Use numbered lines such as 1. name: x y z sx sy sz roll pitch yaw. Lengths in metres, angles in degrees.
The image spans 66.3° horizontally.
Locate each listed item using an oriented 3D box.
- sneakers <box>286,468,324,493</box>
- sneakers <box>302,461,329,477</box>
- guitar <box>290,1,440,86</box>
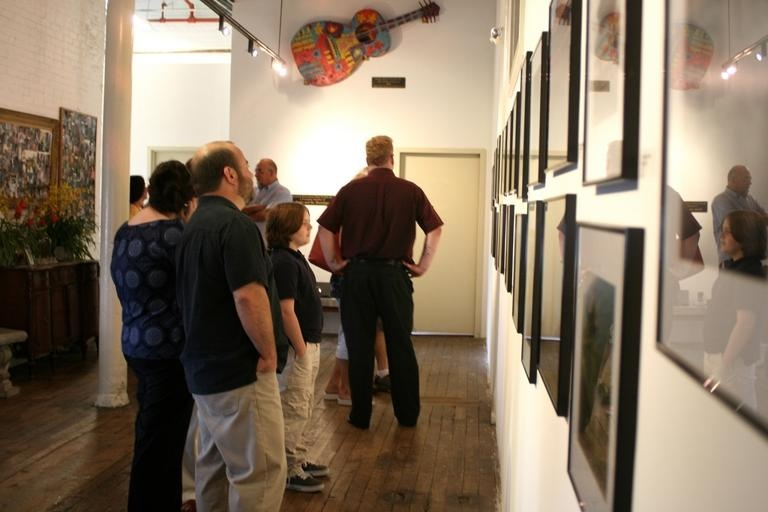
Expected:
1. sneakers: -0.433 1.250 3.297 0.238 0.109 0.096 2 8 5
2. sneakers: -0.392 1.236 3.446 0.178 0.074 0.070 1 1 1
3. guitar: -0.227 -2.797 7.948 1.946 0.902 0.333 -25 -2 9
